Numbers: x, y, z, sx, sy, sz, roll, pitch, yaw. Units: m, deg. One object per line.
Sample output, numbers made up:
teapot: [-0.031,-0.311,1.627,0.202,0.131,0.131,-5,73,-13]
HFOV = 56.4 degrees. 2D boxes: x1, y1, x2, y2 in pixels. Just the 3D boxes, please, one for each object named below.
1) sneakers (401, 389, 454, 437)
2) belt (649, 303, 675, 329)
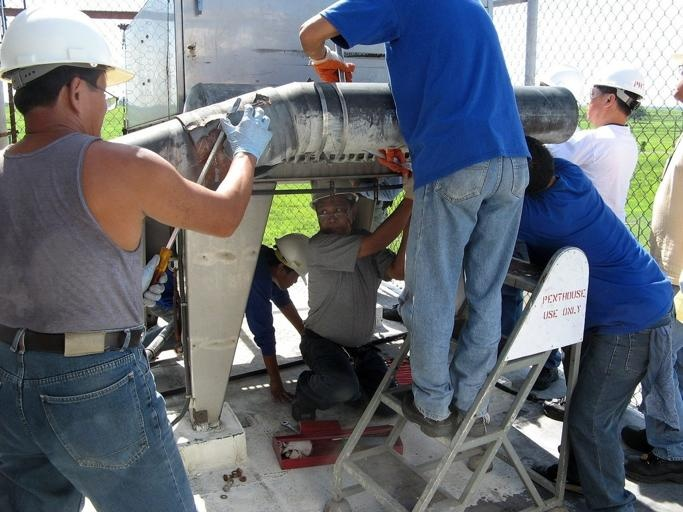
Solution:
sneakers: [0.456,0.834,3.295,0.274,0.161,0.112,36,9,11]
belt: [1.764,0.327,3.512,0.106,0.081,0.149,-14,6,5]
